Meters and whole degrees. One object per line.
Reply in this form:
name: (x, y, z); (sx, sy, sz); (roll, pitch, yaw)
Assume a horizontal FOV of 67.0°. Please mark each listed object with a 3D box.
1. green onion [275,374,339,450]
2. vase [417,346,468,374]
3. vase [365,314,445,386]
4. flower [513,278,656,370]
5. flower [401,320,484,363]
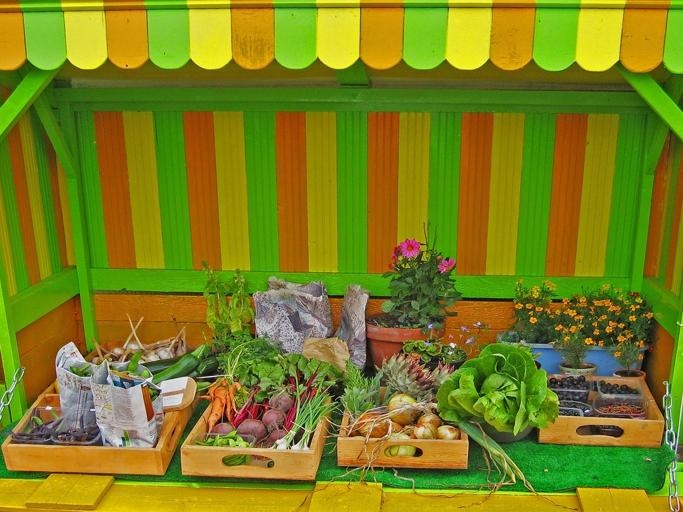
green onion: (-0.216, 1.017, 3.316); (0.223, 0.148, 0.400); (0, 15, 9)
vase: (0.785, 0.756, 3.773); (0.390, 0.172, 0.233); (-5, 8, -38)
vase: (0.430, 0.698, 4.095); (0.382, 0.283, 0.385); (0, -2, 36)
flower: (1.844, 0.512, 3.920); (0.756, 0.337, 0.749); (-1, 3, 8)
flower: (0.741, 0.697, 3.979); (0.499, 0.210, 0.454); (-2, 0, -5)
